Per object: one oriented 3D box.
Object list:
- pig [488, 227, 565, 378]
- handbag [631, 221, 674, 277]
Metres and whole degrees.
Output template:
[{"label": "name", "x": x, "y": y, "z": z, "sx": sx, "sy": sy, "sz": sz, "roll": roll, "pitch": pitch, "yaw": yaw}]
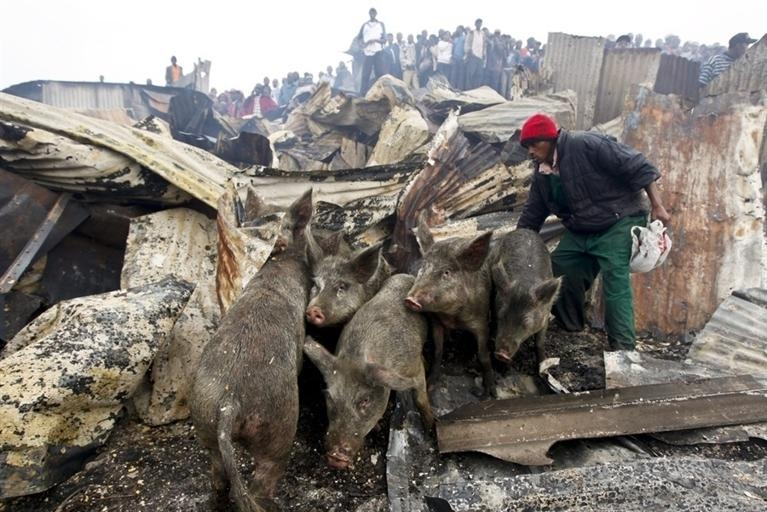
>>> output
[{"label": "pig", "x": 1.294, "y": 0.438, "z": 4.547, "sx": 0.607, "sy": 1.221, "sz": 0.928, "roll": 7, "pitch": 12, "yaw": 12}, {"label": "handbag", "x": 2.687, "y": -0.074, "z": 4.977, "sx": 0.455, "sy": 0.498, "sz": 0.233, "roll": 17, "pitch": -5, "yaw": -29}]
